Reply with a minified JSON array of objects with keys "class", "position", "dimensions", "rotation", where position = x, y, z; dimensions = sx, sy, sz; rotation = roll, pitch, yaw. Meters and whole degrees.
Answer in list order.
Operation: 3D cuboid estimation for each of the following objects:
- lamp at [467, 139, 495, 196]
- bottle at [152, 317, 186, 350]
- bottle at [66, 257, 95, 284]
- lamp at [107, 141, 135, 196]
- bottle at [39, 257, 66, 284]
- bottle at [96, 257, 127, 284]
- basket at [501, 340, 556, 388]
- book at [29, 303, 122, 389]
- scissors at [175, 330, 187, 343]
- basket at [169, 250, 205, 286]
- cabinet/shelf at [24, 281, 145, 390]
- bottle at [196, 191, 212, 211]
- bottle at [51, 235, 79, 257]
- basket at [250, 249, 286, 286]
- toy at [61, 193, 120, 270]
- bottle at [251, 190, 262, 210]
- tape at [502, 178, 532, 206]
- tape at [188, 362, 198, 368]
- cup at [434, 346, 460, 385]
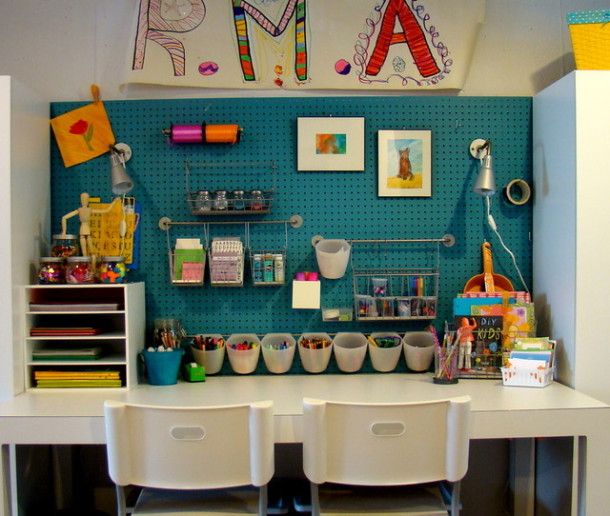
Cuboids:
[{"class":"lamp","position":[0.799,-0.418,2.782],"dimensions":[0.111,0.263,0.260],"rotation":[-1,1,16]},{"class":"bottle","position":[-0.615,0.338,2.779],"dimensions":[0.115,0.146,0.126],"rotation":[0,-4,0]},{"class":"bottle","position":[-0.958,0.055,2.632],"dimensions":[0.102,0.111,0.108],"rotation":[0,3,-21]},{"class":"lamp","position":[-0.832,-0.444,2.849],"dimensions":[0.071,0.181,0.096],"rotation":[-2,17,-9]},{"class":"bottle","position":[-1.084,0.058,2.655],"dimensions":[0.100,0.112,0.109],"rotation":[1,-4,-2]},{"class":"bottle","position":[-0.855,0.055,2.718],"dimensions":[0.103,0.111,0.112],"rotation":[-1,-1,9]},{"class":"basket","position":[0.963,0.452,2.652],"dimensions":[0.213,0.185,0.221],"rotation":[0,6,-1]},{"class":"book","position":[-1.005,0.349,2.685],"dimensions":[0.314,0.278,0.338],"rotation":[0,0,-1]},{"class":"scissors","position":[-0.569,0.354,2.815],"dimensions":[0.031,0.102,0.035],"rotation":[-15,39,-40]},{"class":"basket","position":[-0.527,0.047,2.775],"dimensions":[0.139,0.159,0.095],"rotation":[1,-3,4]},{"class":"cabinet/shelf","position":[-0.948,0.326,2.800],"dimensions":[0.502,0.580,0.394],"rotation":[-1,-5,-4]},{"class":"bottle","position":[-0.455,-0.250,2.772],"dimensions":[0.075,0.122,0.079],"rotation":[1,1,0]},{"class":"bottle","position":[-1.070,-0.050,2.759],"dimensions":[0.106,0.116,0.110],"rotation":[0,1,-28]},{"class":"basket","position":[-0.168,0.031,2.847],"dimensions":[0.139,0.160,0.124],"rotation":[-1,15,-2]},{"class":"toy","position":[-0.965,-0.107,2.788],"dimensions":[0.292,0.442,0.082],"rotation":[-2,-2,-29]},{"class":"bottle","position":[-0.219,-0.260,2.780],"dimensions":[0.057,0.092,0.056],"rotation":[-1,1,0]},{"class":"tape","position":[0.986,-0.303,2.872],"dimensions":[0.116,0.132,0.087],"rotation":[18,-2,12]},{"class":"tape","position":[-0.497,0.476,2.747],"dimensions":[0.019,0.022,0.021],"rotation":[4,-5,-13]},{"class":"cup","position":[0.610,0.475,2.767],"dimensions":[0.116,0.224,0.137],"rotation":[2,-4,2]}]
